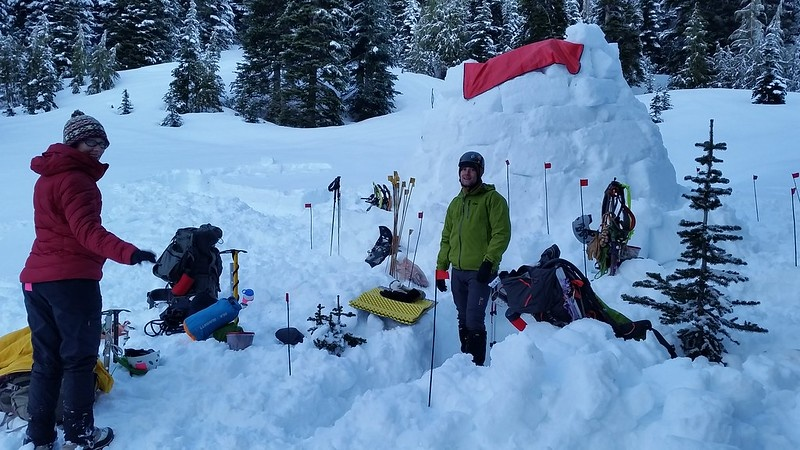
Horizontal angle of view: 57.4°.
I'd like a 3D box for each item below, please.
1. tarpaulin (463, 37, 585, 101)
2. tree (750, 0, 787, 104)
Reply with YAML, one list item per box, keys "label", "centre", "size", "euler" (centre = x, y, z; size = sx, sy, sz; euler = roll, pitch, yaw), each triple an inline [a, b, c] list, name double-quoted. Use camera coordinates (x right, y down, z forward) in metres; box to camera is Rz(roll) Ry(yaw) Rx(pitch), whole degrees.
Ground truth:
- label: "tarpaulin"
  centre: [5.164, -7.125, 32.354]
  size: [3.913, 0.910, 3.082]
  euler: [-16, 17, 19]
- label: "tree"
  centre: [23.264, -10.892, 45.599]
  size: [1.702, 6.474, 12.045]
  euler: [5, 12, 26]
